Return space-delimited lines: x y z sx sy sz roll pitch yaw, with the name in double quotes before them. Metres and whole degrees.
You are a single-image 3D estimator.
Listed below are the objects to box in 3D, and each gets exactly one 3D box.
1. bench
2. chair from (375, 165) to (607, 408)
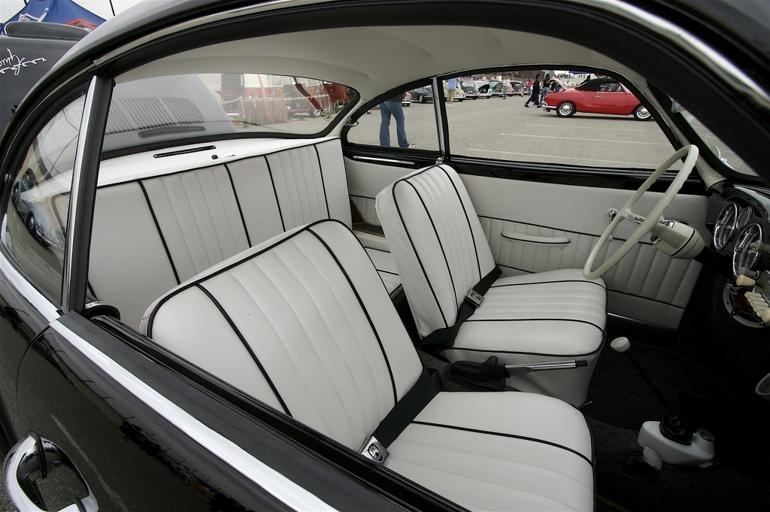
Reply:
"bench" -0.733 -0.109 1.951 0.493 0.659 0.974 12 27 35
"chair" 0.589 0.119 2.298 1.037 1.085 0.826 6 25 23
